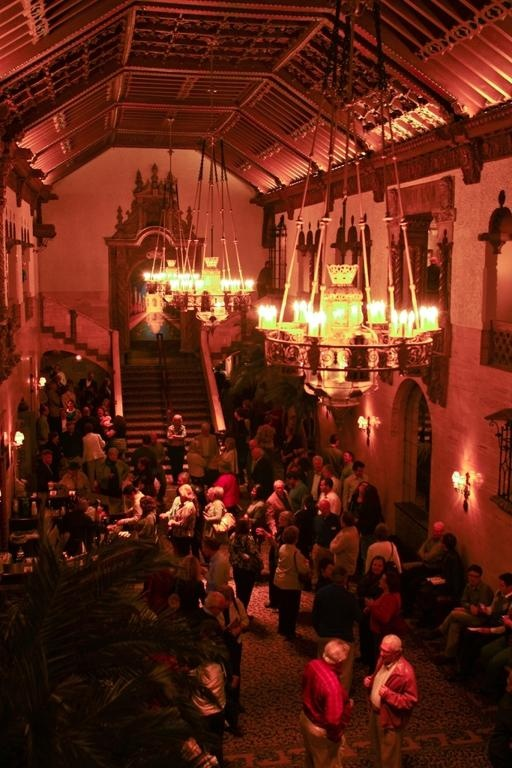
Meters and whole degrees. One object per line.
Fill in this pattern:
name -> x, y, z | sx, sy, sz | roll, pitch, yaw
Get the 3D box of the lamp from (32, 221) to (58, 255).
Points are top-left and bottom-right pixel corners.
lamp -> -6.241, -4.418, 16.973 | 0.313, 1.040, 1.525 | -2, 10, -38

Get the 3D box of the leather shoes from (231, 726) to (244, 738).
leather shoes -> -0.182, 3.409, 5.700 | 0.057, 0.123, 0.169 | 0, -4, -29
